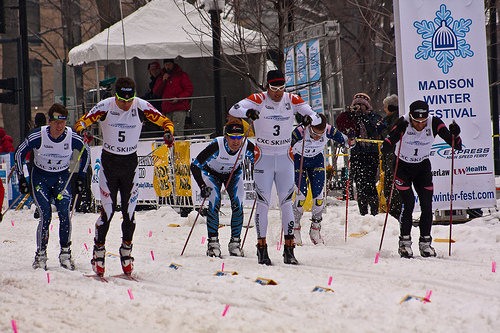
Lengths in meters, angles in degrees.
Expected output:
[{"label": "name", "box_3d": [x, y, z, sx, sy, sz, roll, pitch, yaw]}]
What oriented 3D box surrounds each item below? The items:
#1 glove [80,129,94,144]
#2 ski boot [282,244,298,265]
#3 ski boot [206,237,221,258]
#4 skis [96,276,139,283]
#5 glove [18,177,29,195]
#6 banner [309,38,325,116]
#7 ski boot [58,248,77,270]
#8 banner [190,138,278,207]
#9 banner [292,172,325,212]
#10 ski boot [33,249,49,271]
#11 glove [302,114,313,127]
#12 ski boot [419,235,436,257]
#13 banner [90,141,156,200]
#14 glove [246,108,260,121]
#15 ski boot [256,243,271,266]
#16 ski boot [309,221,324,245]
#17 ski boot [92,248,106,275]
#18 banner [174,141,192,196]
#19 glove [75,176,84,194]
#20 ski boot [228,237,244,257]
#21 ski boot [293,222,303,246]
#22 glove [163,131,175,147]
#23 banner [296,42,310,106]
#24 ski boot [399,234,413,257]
[{"label": "glove", "box_3d": [-3.057, -0.530, 11.345, 0.208, 0.168, 0.275, 14, 12, -43]}, {"label": "ski boot", "box_3d": [0.794, 1.705, 11.903, 0.287, 0.345, 0.303, 0, 11, 4]}, {"label": "ski boot", "box_3d": [-0.755, 1.669, 12.690, 0.288, 0.375, 0.331, -2, 11, -5]}, {"label": "skis", "box_3d": [-2.466, 2.092, 11.276, 0.771, 0.036, 0.282, -2, 13, -2]}, {"label": "glove", "box_3d": [-4.582, 0.394, 12.331, 0.188, 0.374, 0.250, -6, 12, -22]}, {"label": "banner", "box_3d": [1.818, -2.528, 16.744, 0.380, 1.981, 1.010, 0, 11, 7]}, {"label": "ski boot", "box_3d": [-3.614, 1.830, 12.068, 0.311, 0.395, 0.497, -5, 12, -19]}, {"label": "banner", "box_3d": [-0.270, 0.127, 12.992, 1.518, 1.260, 0.054, 2, 9, 20]}, {"label": "banner", "box_3d": [1.311, 0.533, 13.676, 0.786, 1.258, 0.681, -1, 11, 1]}, {"label": "ski boot", "box_3d": [-4.139, 1.846, 11.994, 0.272, 0.325, 0.376, -6, 12, -21]}, {"label": "glove", "box_3d": [1.099, -0.879, 11.620, 0.127, 0.207, 0.098, 1, 1, 11]}, {"label": "ski boot", "box_3d": [3.502, 1.557, 11.998, 0.319, 0.397, 0.197, 3, 11, 20]}, {"label": "banner", "box_3d": [-2.742, 0.105, 13.729, 1.478, 1.254, 0.072, 1, 5, 17]}, {"label": "glove", "box_3d": [0.062, -0.993, 11.669, 0.208, 0.251, 0.342, 1, 12, 13]}, {"label": "ski boot", "box_3d": [0.275, 1.686, 11.952, 0.324, 0.390, 0.327, 2, 12, 14]}, {"label": "ski boot", "box_3d": [1.498, 1.433, 13.559, 0.341, 0.493, 0.423, -2, 11, -6]}, {"label": "ski boot", "box_3d": [-2.852, 1.831, 11.477, 0.152, 0.524, 0.441, -6, 9, -22]}, {"label": "banner", "box_3d": [-1.844, 0.061, 16.808, 0.679, 1.563, 0.134, 7, 13, 37]}, {"label": "glove", "box_3d": [-3.397, 0.365, 12.155, 0.184, 0.310, 0.093, 1, -8, 3]}, {"label": "ski boot", "box_3d": [-0.305, 1.683, 12.685, 0.217, 0.443, 0.407, 1, -10, -6]}, {"label": "ski boot", "box_3d": [1.083, 1.479, 13.529, 0.182, 0.465, 0.481, 0, 11, 5]}, {"label": "glove", "box_3d": [-1.537, -0.520, 11.630, 0.111, 0.290, 0.198, -9, 10, -11]}, {"label": "banner", "box_3d": [1.507, -2.647, 17.264, 0.373, 1.698, 1.070, 0, 11, 5]}, {"label": "ski boot", "box_3d": [3.088, 1.557, 12.053, 0.243, 0.375, 0.278, 1, 11, 12]}]
